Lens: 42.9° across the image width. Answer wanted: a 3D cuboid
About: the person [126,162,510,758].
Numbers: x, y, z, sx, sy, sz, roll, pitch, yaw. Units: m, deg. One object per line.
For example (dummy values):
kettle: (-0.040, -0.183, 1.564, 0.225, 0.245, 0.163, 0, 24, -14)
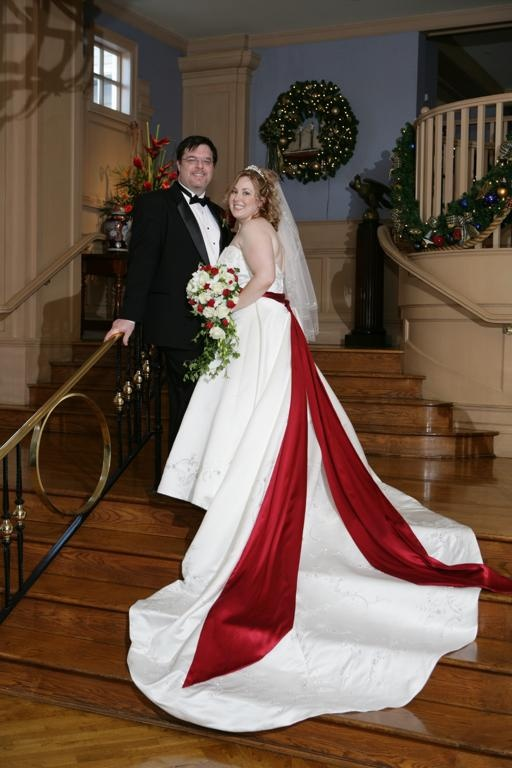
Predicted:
person: (0.240, 0.075, 2.195, 1.202, 1.666, 1.248, 4, 10, 4)
